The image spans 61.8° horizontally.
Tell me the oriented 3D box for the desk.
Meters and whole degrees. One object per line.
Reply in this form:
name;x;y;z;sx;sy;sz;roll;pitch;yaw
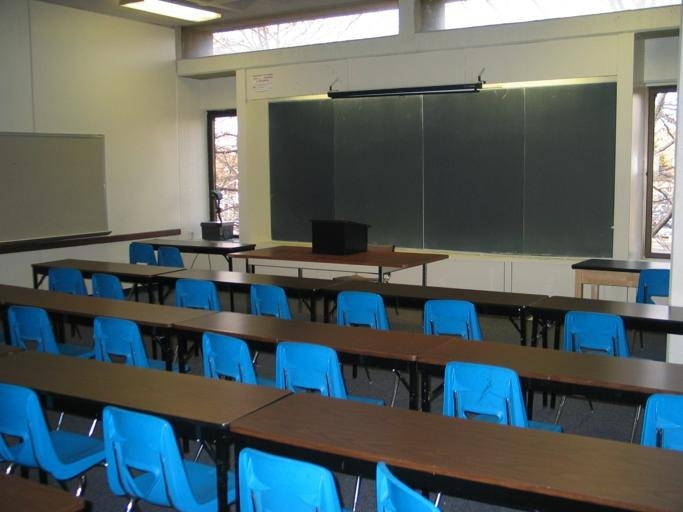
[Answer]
desk;-2.330;0.142;8.824;1.386;0.727;0.548;7;8;3
